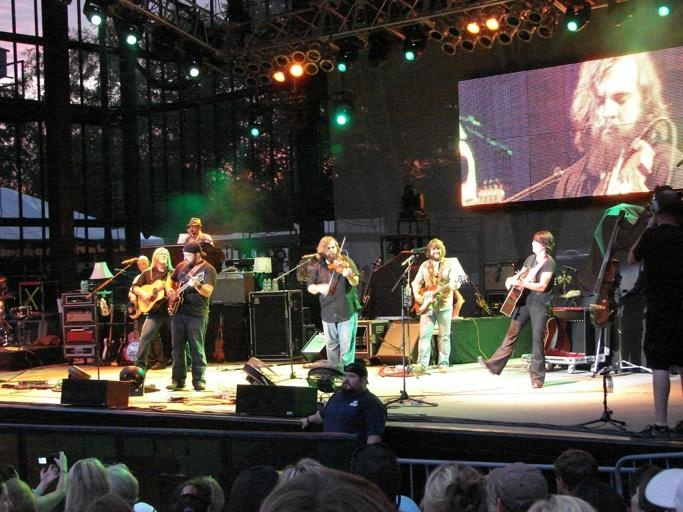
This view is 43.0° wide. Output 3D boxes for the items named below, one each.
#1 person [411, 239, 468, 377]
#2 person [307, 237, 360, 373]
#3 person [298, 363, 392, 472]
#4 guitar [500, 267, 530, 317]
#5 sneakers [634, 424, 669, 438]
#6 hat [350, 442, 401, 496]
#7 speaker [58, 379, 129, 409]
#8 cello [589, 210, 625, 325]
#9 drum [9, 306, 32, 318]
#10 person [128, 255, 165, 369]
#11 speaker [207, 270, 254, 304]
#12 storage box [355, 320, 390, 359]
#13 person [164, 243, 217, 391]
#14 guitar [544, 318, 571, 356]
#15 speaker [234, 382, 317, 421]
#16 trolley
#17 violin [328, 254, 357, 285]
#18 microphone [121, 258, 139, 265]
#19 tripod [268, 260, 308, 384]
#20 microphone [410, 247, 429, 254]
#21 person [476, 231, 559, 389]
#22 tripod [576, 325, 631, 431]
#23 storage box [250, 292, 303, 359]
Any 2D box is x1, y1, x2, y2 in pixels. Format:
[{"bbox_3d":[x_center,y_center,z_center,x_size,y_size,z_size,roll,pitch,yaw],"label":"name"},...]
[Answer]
[{"bbox_3d":[1.442,0.718,12.949,0.994,1.968,0.727,-3,-6,26],"label":"person"},{"bbox_3d":[-0.061,0.634,11.674,0.777,1.645,0.606,2,5,4],"label":"person"},{"bbox_3d":[0.015,1.599,9.085,0.887,0.900,1.272,-3,-1,-3],"label":"person"},{"bbox_3d":[2.276,0.495,11.354,0.222,0.763,0.138,34,24,21],"label":"guitar"},{"bbox_3d":[3.118,1.753,8.677,0.364,0.122,0.127,-1,-3,13],"label":"sneakers"},{"bbox_3d":[0.322,1.759,7.307,0.442,0.382,0.417,4,2,10],"label":"hat"},{"bbox_3d":[-3.052,1.700,10.649,0.729,0.330,0.821,2,3,-4],"label":"speaker"},{"bbox_3d":[3.381,0.220,10.938,0.314,1.547,0.670,4,13,5],"label":"cello"},{"bbox_3d":[-5.975,1.038,16.015,0.274,0.160,0.277,-2,-3,0],"label":"drum"},{"bbox_3d":[-3.243,0.925,14.502,0.790,2.016,0.650,0,6,-17],"label":"person"},{"bbox_3d":[-2.067,0.597,15.284,0.967,0.551,0.505,0,-9,13],"label":"speaker"},{"bbox_3d":[0.486,1.322,14.061,0.456,0.484,0.607,-2,0,35],"label":"storage box"},{"bbox_3d":[-2.082,0.805,11.731,0.932,1.930,0.710,1,-2,37],"label":"person"},{"bbox_3d":[3.253,1.243,13.122,0.526,0.686,0.194,-1,5,42],"label":"guitar"},{"bbox_3d":[-0.756,1.649,9.843,0.739,0.286,0.463,-2,-4,25],"label":"speaker"},{"bbox_3d":[3.369,1.193,12.476,0.764,1.067,1.241,-3,3,-36],"label":"trolley"},{"bbox_3d":[0.020,0.191,11.500,0.391,0.346,0.257,-3,-1,-3],"label":"violin"},{"bbox_3d":[-3.871,0.090,15.846,0.404,0.108,0.100,-6,21,40],"label":"microphone"},{"bbox_3d":[-0.824,0.971,13.870,0.557,1.783,0.572,1,4,-9],"label":"tripod"},{"bbox_3d":[1.095,-0.077,11.997,0.167,0.085,0.476,1,2,28],"label":"microphone"},{"bbox_3d":[2.381,0.671,11.458,1.035,1.967,0.861,5,7,38],"label":"person"},{"bbox_3d":[3.005,1.374,9.504,0.587,1.188,0.616,3,5,-23],"label":"tripod"},{"bbox_3d":[-1.060,1.118,14.652,0.866,1.089,0.727,1,5,23],"label":"storage box"}]
